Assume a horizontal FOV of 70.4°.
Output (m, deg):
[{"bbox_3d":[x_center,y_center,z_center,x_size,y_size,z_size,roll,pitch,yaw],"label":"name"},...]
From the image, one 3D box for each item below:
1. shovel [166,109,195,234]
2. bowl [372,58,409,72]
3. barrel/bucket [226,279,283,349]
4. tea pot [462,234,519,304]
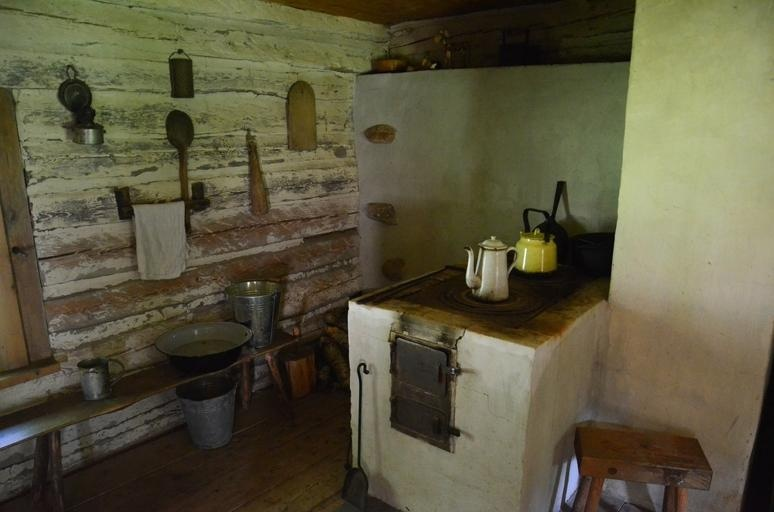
[{"bbox_3d":[-1.413,-0.584,3.862,0.138,0.849,0.230,-2,19,5],"label":"shovel"},{"bbox_3d":[0.036,-1.636,4.751,0.310,0.122,0.262,-3,16,-1],"label":"bowl"},{"bbox_3d":[-0.909,0.404,3.915,0.471,0.432,0.470,-1,4,0],"label":"barrel/bucket"},{"bbox_3d":[0.593,0.064,3.183,0.242,0.366,0.209,0,18,11],"label":"tea pot"}]
